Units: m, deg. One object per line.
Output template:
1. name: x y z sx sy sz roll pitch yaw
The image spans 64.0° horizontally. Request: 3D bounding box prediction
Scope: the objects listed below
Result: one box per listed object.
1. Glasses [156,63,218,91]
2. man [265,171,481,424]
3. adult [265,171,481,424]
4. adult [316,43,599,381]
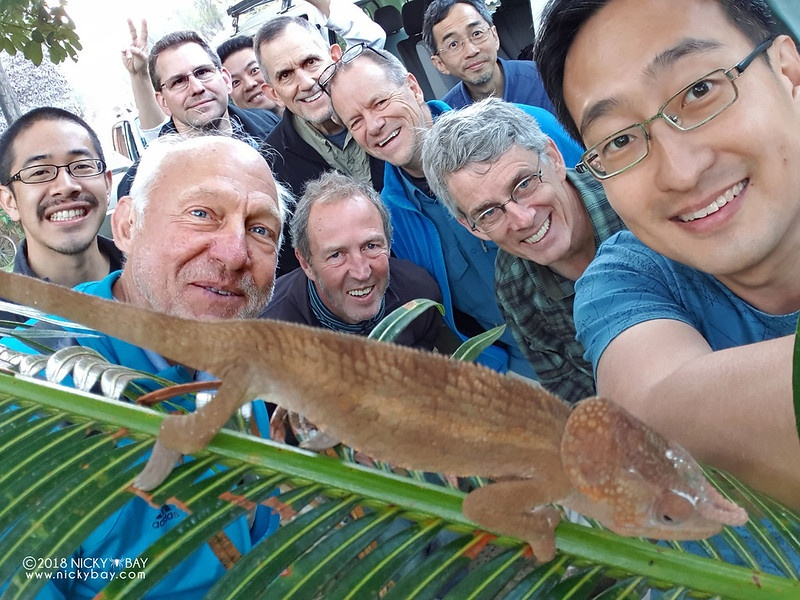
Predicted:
1. Glasses: -1.551 -1.614 4.726 0.419 0.180 0.141 -21 3 -8
2. man: -0.316 -0.109 4.030 1.418 1.362 0.887 -17 33 -14
3. adult: -0.333 -0.105 4.052 1.431 1.347 0.830 -16 33 -13
4. adult: 0.605 -0.646 4.468 1.490 2.075 0.962 -35 11 24
